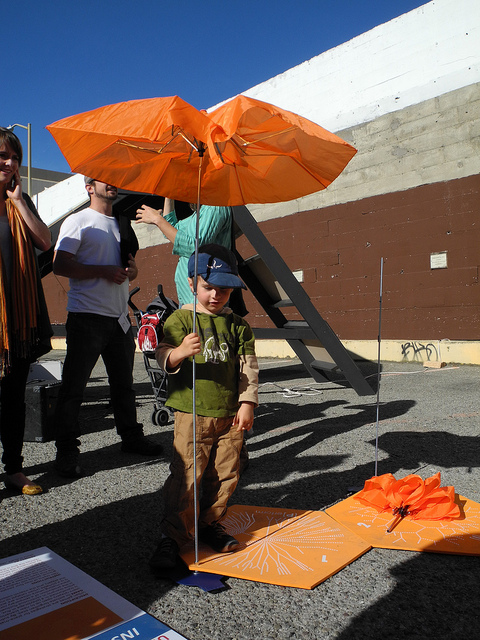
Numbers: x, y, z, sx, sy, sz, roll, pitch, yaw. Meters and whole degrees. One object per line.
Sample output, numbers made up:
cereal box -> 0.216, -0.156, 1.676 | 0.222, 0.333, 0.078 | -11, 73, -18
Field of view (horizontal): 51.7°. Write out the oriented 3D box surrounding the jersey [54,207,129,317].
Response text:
jersey -> -0.823, -0.300, 2.682 | 0.379, 0.588, 0.252 | -3, 6, -41

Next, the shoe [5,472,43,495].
shoe -> -0.989, 0.732, 2.267 | 0.218, 0.080, 0.073 | -1, -6, 35

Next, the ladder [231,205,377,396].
ladder -> 0.555, -0.096, 5.360 | 1.934, 2.217, 1.253 | 0, -5, -19

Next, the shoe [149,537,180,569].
shoe -> -0.243, 0.733, 1.551 | 0.080, 0.066, 0.098 | -1, 7, 2

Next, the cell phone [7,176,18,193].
cell phone -> -1.002, -0.589, 2.152 | 0.039, 0.073, 0.081 | -5, 8, -30

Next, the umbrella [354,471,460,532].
umbrella -> 0.678, 0.704, 2.015 | 0.341, 0.124, 0.335 | -3, 7, -11

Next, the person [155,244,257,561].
person -> -0.115, 0.266, 1.729 | 0.347, 1.050, 0.540 | -1, 7, 2

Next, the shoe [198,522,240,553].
shoe -> -0.081, 0.728, 1.700 | 0.065, 0.068, 0.184 | 4, -6, -37

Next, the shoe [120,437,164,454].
shoe -> -0.594, 0.743, 2.923 | 0.278, 0.106, 0.097 | 0, 0, 7
